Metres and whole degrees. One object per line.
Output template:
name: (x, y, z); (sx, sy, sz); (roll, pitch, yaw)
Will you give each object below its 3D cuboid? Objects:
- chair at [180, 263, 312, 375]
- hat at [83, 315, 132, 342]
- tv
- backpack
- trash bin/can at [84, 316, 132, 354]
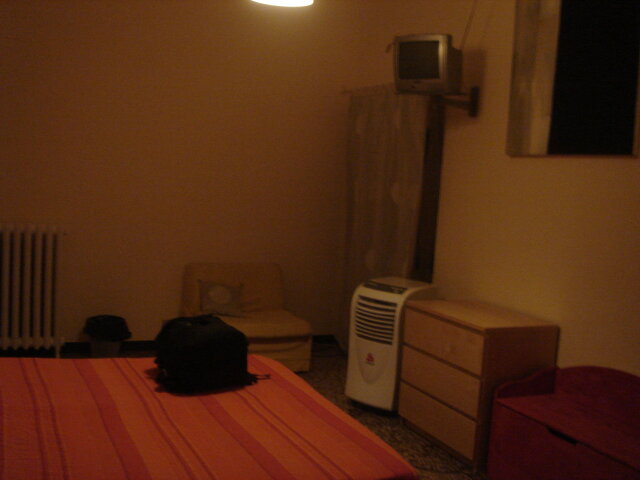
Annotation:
chair: (-0.620, 0.547, 4.698); (0.925, 0.900, 0.912); (1, -2, -14)
hat: (-1.782, 0.752, 4.695); (0.321, 0.190, 0.273); (6, 11, 30)
tv: (0.759, -1.216, 4.020); (0.502, 0.501, 0.380); (2, 5, 28)
backpack: (-0.583, 0.545, 2.733); (0.284, 0.225, 0.378); (0, -1, -22)
trash bin/can: (-1.790, 0.758, 4.724); (0.313, 0.312, 0.327); (4, 2, 41)
